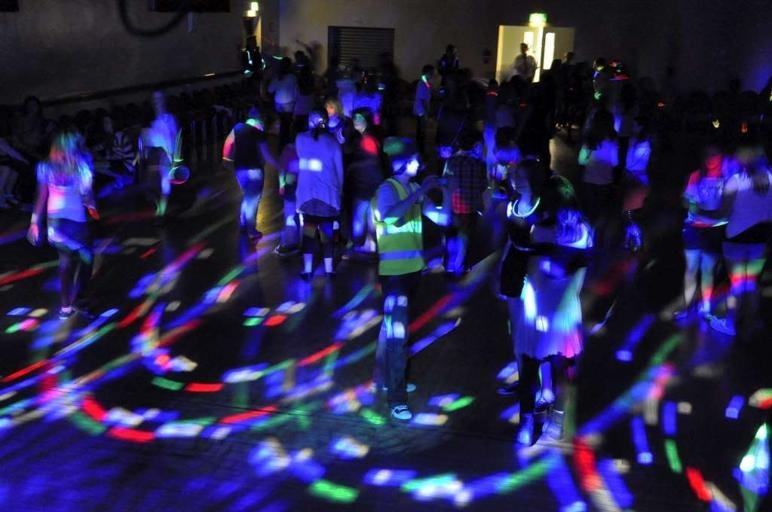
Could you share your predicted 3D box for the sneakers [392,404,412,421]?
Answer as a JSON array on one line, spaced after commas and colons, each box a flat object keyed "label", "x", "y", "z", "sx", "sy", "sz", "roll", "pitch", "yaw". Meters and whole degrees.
[{"label": "sneakers", "x": 0.126, "y": 1.268, "z": 4.630, "sx": 0.097, "sy": 0.077, "sz": 0.169, "roll": -2, "pitch": 13, "yaw": -19}]
